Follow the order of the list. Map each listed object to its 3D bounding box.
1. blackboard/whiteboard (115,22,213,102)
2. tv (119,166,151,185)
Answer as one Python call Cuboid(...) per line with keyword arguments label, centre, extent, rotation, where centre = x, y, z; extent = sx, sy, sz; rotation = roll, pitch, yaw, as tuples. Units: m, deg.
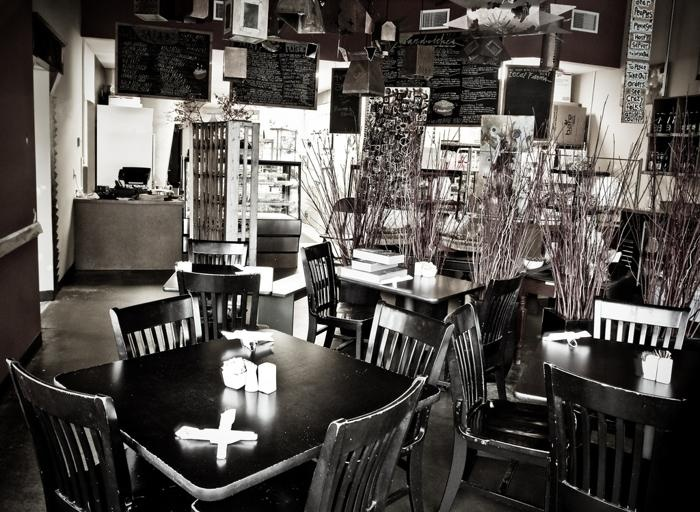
Cuboid(label="blackboard/whiteboard", centre=(-2.214, -2.315, 6.438), extent=(0.937, 0.735, 0.070), rotation=(-1, 6, -26))
Cuboid(label="tv", centre=(-3.494, -1.296, 8.857), extent=(0.422, 0.294, 0.406), rotation=(1, 8, -15))
